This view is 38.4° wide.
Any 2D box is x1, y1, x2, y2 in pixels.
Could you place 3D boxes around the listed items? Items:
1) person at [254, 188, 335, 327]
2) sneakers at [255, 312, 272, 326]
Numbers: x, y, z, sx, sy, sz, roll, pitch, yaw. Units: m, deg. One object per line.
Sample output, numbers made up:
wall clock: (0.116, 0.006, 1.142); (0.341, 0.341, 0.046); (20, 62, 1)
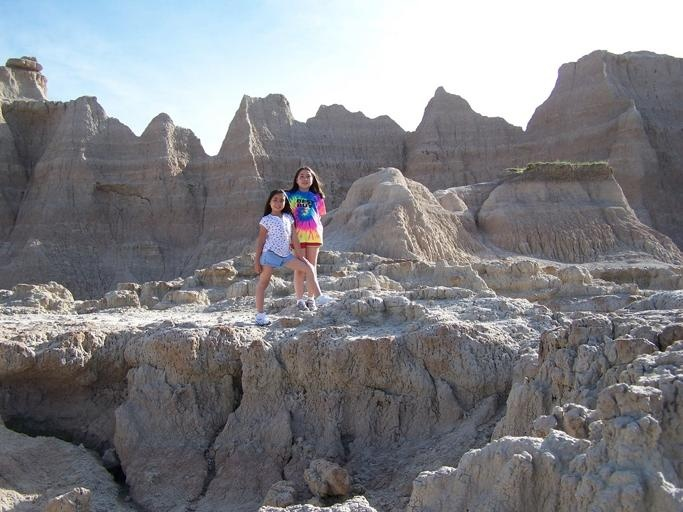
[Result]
person: (-0.953, 0.020, 16.323); (1.047, 2.239, 0.652); (-1, -8, -11)
sneakers: (-1.355, 1.058, 16.323); (0.138, 0.175, 0.352); (0, -4, -34)
